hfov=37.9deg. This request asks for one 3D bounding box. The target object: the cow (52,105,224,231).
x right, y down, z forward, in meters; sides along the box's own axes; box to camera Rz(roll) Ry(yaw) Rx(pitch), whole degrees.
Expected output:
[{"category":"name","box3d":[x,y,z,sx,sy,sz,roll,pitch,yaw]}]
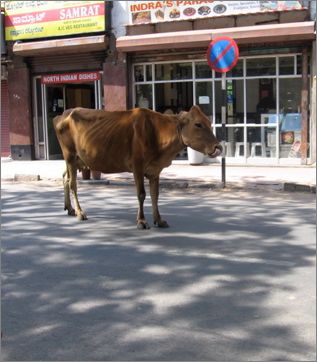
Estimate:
[{"category":"cow","box3d":[-0.368,-0.242,7.220,3.139,1.780,0.778,3,3,32]}]
